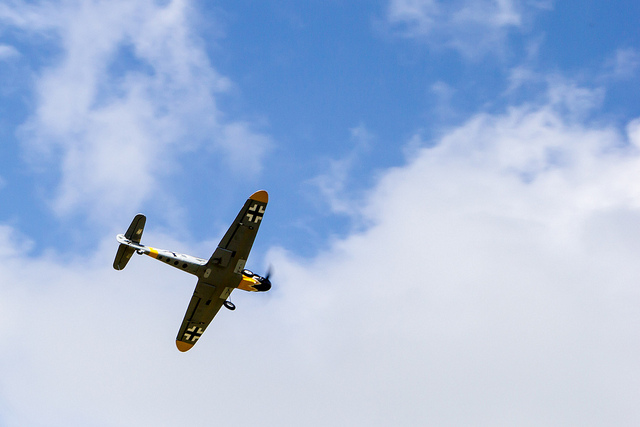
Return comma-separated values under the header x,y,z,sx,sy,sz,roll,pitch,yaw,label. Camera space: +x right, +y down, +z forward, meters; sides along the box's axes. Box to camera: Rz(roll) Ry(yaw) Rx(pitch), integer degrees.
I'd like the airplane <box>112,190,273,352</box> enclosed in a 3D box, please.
x,y,z,sx,sy,sz,roll,pitch,yaw,label
-8.577,4.226,58.806,11.528,14.635,3.788,-2,-44,-16,airplane
